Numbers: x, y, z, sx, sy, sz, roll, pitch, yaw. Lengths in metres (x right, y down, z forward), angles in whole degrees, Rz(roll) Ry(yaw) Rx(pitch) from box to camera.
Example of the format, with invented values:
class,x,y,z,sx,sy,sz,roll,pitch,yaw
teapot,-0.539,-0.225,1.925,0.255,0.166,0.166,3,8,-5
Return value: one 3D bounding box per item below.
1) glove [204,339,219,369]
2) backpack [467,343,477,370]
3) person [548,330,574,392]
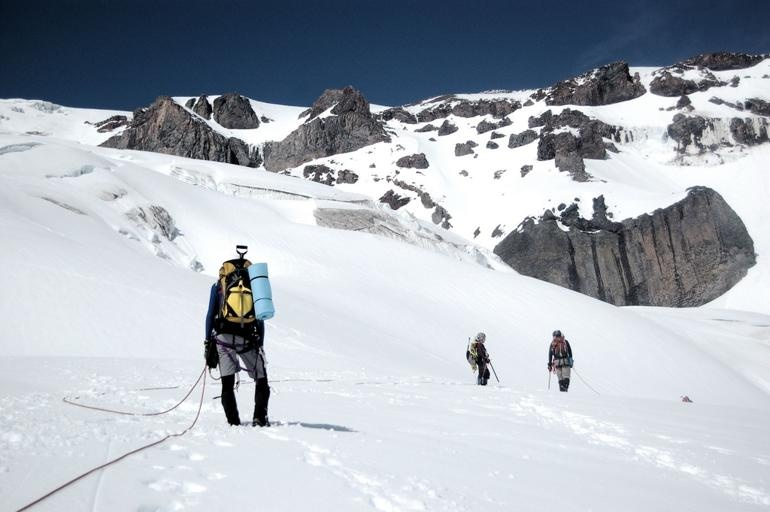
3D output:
class,x,y,z,sx,sy,sz,roll,pitch,yaw
glove,-4.202,2.366,14.885,0.356,0.720,0.200,3,0,-7
backpack,2.985,3.468,21.075,0.310,0.853,0.614,4,0,9
person,5.948,3.566,20.737,0.733,2.022,1.098,3,0,15
